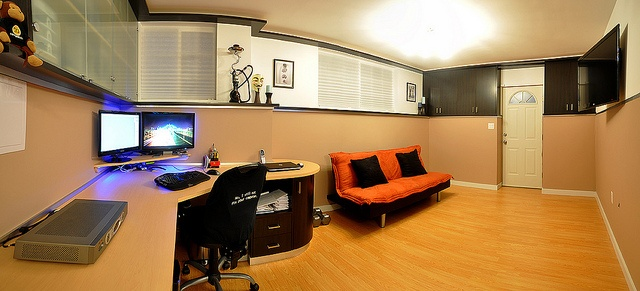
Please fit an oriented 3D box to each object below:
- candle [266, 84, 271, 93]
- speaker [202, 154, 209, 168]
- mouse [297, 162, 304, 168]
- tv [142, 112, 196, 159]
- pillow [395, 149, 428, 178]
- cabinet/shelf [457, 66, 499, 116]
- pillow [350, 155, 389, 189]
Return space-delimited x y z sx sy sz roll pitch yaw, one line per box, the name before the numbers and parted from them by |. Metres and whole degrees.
candle | -1.093 -1.215 7.391 0.193 0.171 0.172 0 -1 -5
speaker | -2.219 0.308 6.700 0.086 0.196 0.166 7 3 -32
mouse | -0.378 0.387 6.864 0.096 0.072 0.064 -5 8 -10
tv | -2.935 -0.217 6.608 1.124 0.707 0.098 0 1 -20
pillow | 2.221 0.441 8.455 0.736 0.568 0.197 -13 -19 -16
cabinet/shelf | 4.300 -1.431 9.230 0.785 1.286 0.242 -2 6 12
pillow | 1.085 0.600 7.722 0.811 0.628 0.219 -8 -21 -23
